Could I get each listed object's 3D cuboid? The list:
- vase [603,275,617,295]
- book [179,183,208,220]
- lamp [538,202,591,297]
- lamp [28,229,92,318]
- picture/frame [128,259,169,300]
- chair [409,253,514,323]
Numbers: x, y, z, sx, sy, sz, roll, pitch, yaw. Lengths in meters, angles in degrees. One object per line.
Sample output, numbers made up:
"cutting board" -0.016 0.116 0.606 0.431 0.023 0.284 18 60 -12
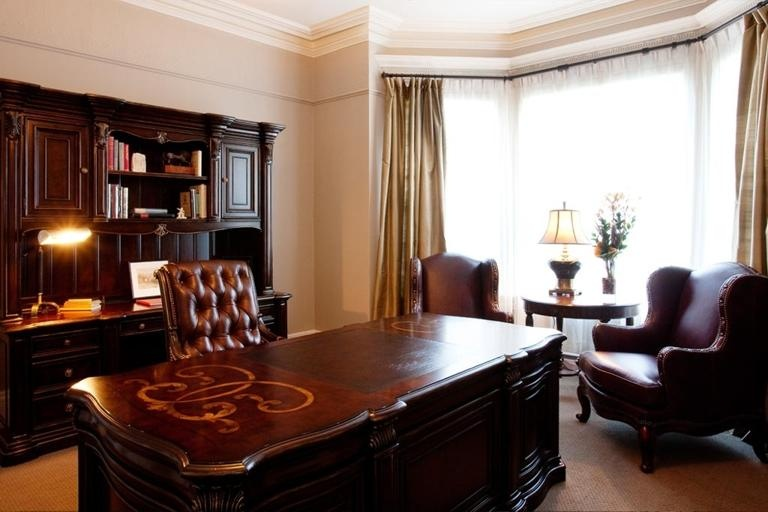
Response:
"vase" 2.109 0.274 5.296 0.149 0.169 0.151 -1 5 0
"book" -1.743 -0.484 5.170 0.168 0.318 0.320 -4 7 -45
"lamp" 1.738 -0.078 5.437 0.454 0.867 0.662 0 6 18
"lamp" -2.639 0.111 4.608 0.471 0.673 0.401 -5 6 -32
"picture/frame" -2.030 0.213 4.814 0.035 0.351 0.355 -11 -5 33
"chair" 0.694 0.316 5.333 0.612 0.847 0.697 1 -8 -7
